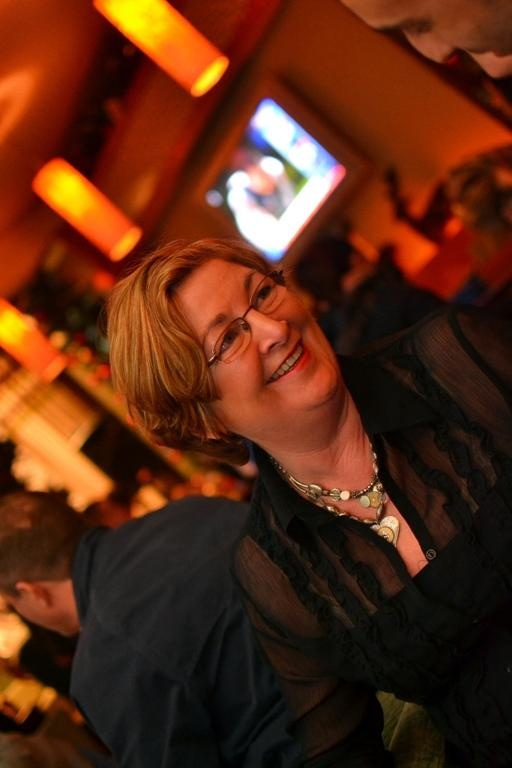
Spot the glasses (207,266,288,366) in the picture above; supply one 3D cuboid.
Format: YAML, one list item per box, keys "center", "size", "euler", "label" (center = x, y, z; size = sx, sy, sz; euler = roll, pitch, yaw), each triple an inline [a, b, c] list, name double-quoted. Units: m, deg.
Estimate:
- center: [-0.068, -0.139, 1.332]
  size: [0.070, 0.211, 0.225]
  euler: [44, -13, -32]
  label: "glasses"
